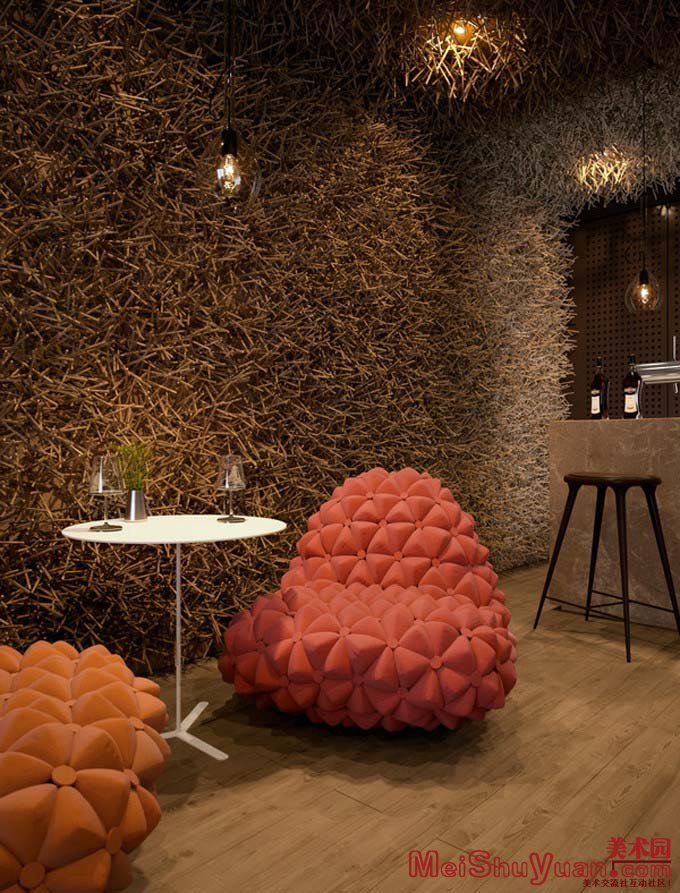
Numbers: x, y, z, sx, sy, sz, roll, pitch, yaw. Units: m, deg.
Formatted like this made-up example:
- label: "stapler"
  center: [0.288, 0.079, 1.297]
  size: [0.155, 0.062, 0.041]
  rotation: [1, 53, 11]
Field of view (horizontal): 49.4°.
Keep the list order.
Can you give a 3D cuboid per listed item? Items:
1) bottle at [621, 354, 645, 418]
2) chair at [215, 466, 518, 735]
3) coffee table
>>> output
- label: "bottle"
  center: [1.503, -0.309, 3.784]
  size: [0.078, 0.345, 0.549]
  rotation: [0, 1, 22]
- label: "chair"
  center: [0.157, 0.374, 2.463]
  size: [0.850, 0.573, 0.846]
  rotation: [2, 8, 18]
- label: "coffee table"
  center: [-0.500, 0.551, 2.258]
  size: [0.750, 0.681, 0.733]
  rotation: [-2, 1, -35]
